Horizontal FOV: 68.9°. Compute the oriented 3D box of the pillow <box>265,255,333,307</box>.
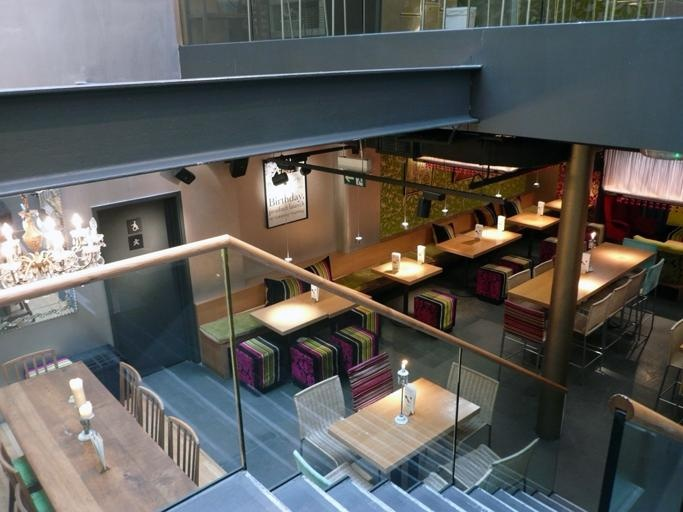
[{"bbox_3d":[-0.403,0.230,4.515,0.374,0.221,0.095,-25,31,-29],"label":"pillow"}]

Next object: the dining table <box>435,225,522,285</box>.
[{"bbox_3d":[2.415,-0.280,9.141,0.954,0.878,1.791,24,38,38],"label":"dining table"}]

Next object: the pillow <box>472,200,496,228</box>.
[{"bbox_3d":[3.214,-0.907,11.128,0.506,0.376,0.564,2,22,9],"label":"pillow"}]

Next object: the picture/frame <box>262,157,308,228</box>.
[{"bbox_3d":[-0.928,-1.014,7.811,0.074,1.107,0.904,14,25,39],"label":"picture/frame"}]
